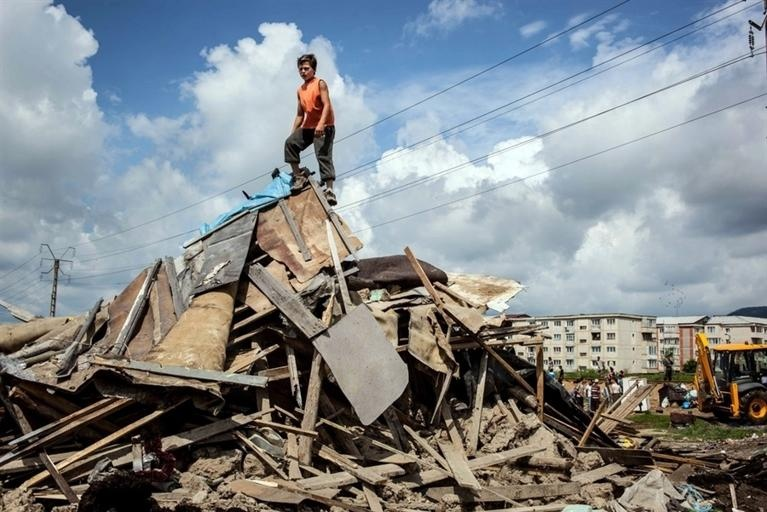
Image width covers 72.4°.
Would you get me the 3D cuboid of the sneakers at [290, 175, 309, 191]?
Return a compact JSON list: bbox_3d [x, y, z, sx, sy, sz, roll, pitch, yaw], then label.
[{"bbox_3d":[-2.315,-1.967,14.241,0.309,0.236,0.650,16,32,18],"label":"sneakers"}]
